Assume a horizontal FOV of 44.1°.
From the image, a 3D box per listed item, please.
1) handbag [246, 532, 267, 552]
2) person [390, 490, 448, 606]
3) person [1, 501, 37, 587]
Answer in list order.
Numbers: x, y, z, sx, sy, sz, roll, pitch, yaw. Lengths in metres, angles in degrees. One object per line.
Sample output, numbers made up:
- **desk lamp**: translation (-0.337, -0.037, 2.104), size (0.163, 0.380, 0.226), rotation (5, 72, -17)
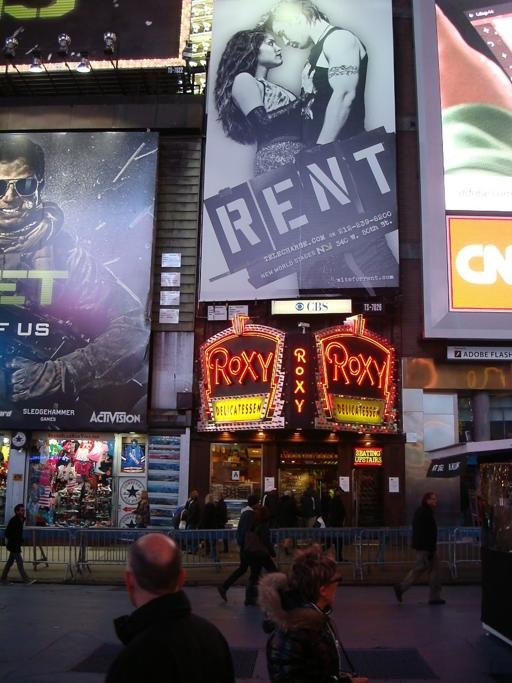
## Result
- **handbag**: translation (-0.043, 3.347, 10.626), size (0.368, 0.231, 0.405), rotation (2, 37, -5)
- **person**: translation (2.927, 3.679, 11.326), size (0.776, 1.870, 0.790), rotation (-1, -8, 15)
- **person**: translation (-5.416, 4.587, 14.442), size (0.667, 1.780, 1.566), rotation (3, -8, -18)
